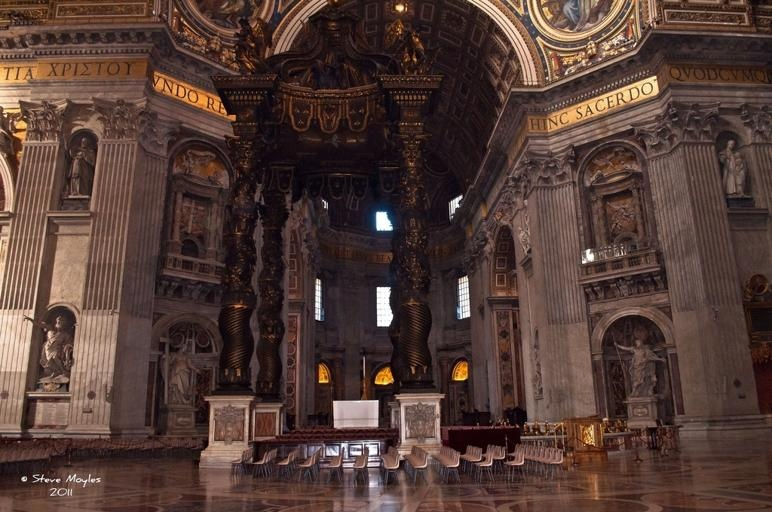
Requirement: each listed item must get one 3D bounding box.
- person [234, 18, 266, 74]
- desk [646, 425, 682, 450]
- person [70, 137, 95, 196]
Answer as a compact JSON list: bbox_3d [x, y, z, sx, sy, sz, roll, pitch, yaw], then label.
[{"bbox_3d":[-3.878,-6.125,19.273,0.850,2.323,0.921,4,-19,-13],"label":"person"},{"bbox_3d":[8.719,5.750,20.981,0.949,0.803,1.276,-4,-11,6],"label":"desk"},{"bbox_3d":[-11.542,-3.406,25.521,0.796,2.458,0.377,6,-20,-20],"label":"person"}]
